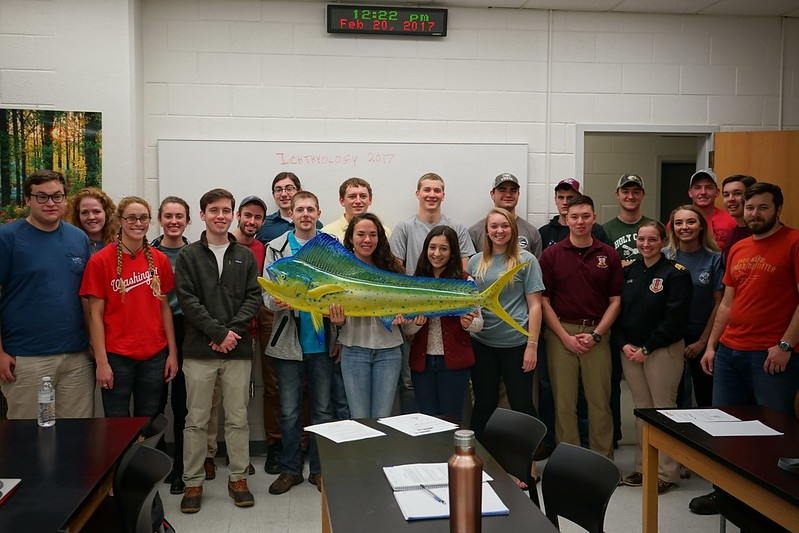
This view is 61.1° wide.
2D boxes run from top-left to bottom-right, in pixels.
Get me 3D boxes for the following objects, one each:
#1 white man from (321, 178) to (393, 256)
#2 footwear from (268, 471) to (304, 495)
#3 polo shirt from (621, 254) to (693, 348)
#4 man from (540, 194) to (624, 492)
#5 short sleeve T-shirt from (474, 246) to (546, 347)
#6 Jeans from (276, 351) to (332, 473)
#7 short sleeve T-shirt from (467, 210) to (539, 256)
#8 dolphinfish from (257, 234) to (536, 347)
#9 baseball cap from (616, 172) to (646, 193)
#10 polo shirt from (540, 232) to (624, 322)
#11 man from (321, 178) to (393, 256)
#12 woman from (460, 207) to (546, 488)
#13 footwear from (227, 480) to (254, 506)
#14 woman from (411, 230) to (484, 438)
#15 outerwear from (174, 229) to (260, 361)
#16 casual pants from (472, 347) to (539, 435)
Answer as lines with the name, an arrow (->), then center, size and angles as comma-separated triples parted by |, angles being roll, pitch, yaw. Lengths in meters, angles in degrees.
white man -> -0.356, -0.429, 5.490 | 0.632, 0.560, 0.304 | -1, 5, -5
footwear -> -0.865, 1.650, 5.179 | 0.117, 0.103, 0.268 | 7, 0, 34
polo shirt -> 1.971, 0.283, 5.219 | 0.432, 0.780, 0.715 | 0, 2, -33
man -> 1.496, 0.585, 5.501 | 0.703, 2.339, 0.645 | -3, 17, 7
short sleeve T-shirt -> 0.810, 0.239, 5.083 | 0.742, 0.792, 0.418 | -1, -6, 12
Jeans -> -0.732, 1.093, 5.221 | 0.458, 1.211, 0.300 | -4, 11, -17
short sleeve T-shirt -> 0.830, -0.262, 5.530 | 0.406, 0.438, 0.154 | 2, -32, -8
dolphinfish -> -0.089, 0.167, 4.634 | 1.808, 0.697, 0.399 | 4, 16, 5
baseball cap -> 1.988, -0.718, 5.826 | 0.230, 0.112, 0.177 | -2, 10, -3
polo shirt -> 1.453, 0.111, 5.431 | 0.677, 0.651, 0.379 | -1, 8, 4
man -> -0.357, -0.424, 5.486 | 0.639, 0.563, 0.316 | -1, 3, -3
woman -> 0.784, 0.631, 5.186 | 0.759, 2.186, 0.729 | -3, -4, 11
footwear -> -1.170, 1.670, 4.997 | 0.108, 0.113, 0.267 | 2, -5, -31
woman -> 0.300, 0.627, 4.977 | 0.613, 1.690, 0.573 | 0, 4, 21
outerwear -> -1.353, 0.201, 5.038 | 0.670, 0.922, 0.490 | 5, -3, -36
casual pants -> 0.821, 0.998, 5.343 | 0.496, 1.070, 0.282 | 4, 22, 21
